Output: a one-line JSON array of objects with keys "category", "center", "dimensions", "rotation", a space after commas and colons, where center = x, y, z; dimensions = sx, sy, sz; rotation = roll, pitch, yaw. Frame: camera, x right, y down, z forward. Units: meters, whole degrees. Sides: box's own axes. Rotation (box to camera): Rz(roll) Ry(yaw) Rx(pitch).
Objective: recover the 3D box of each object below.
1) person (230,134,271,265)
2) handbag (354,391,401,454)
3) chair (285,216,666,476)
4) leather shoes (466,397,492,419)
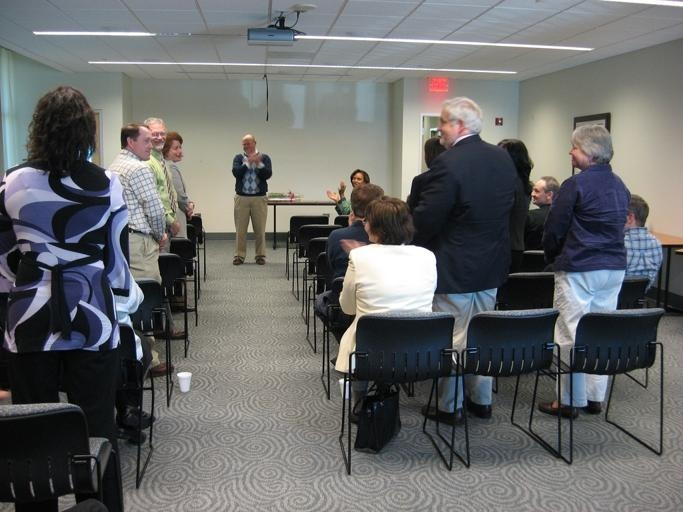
[{"category": "person", "center": [-1.408, -0.876, 8.569], "dimensions": [0.628, 2.035, 0.608], "rotation": [-2, 12, -12]}, {"category": "handbag", "center": [0.256, 1.000, 3.323], "dimensions": [0.156, 0.323, 0.385], "rotation": [4, 6, 32]}, {"category": "chair", "center": [0.970, 0.714, 3.239], "dimensions": [1.913, 0.923, 0.509], "rotation": [-1, 12, -6]}, {"category": "leather shoes", "center": [0.932, 1.029, 3.682], "dimensions": [0.085, 0.106, 0.238], "rotation": [-1, 8, -9]}]
